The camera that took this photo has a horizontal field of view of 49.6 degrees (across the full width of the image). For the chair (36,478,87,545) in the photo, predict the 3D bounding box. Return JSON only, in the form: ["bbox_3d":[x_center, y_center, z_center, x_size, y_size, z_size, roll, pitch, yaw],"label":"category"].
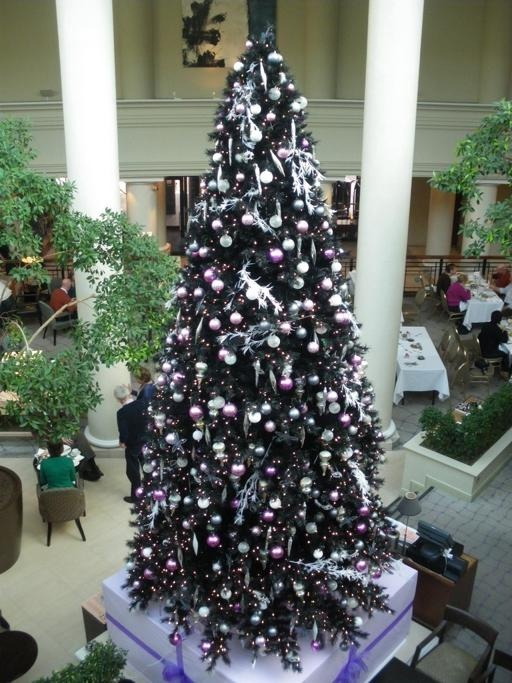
[{"bbox_3d":[-1.690,1.482,4.807,0.471,0.705,0.488,-2,53,-18],"label":"chair"}]

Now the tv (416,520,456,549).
[{"bbox_3d":[1.209,1.319,3.756,0.246,0.158,0.159,6,17,21],"label":"tv"}]

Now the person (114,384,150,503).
[{"bbox_3d":[-1.115,1.031,5.105,0.283,1.349,0.718,-5,17,-14],"label":"person"}]

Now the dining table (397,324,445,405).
[{"bbox_3d":[2.266,0.357,7.722,0.562,0.274,1.202,1,28,6],"label":"dining table"}]

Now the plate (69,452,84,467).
[{"bbox_3d":[-1.691,1.105,5.231,0.046,0.146,0.138,-8,7,35],"label":"plate"}]

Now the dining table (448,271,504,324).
[{"bbox_3d":[4.014,-0.754,10.231,0.684,0.308,1.175,-6,33,9],"label":"dining table"}]
